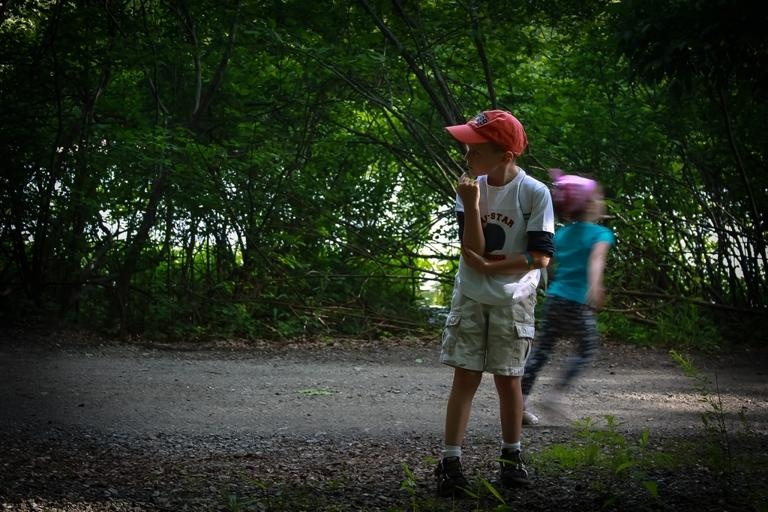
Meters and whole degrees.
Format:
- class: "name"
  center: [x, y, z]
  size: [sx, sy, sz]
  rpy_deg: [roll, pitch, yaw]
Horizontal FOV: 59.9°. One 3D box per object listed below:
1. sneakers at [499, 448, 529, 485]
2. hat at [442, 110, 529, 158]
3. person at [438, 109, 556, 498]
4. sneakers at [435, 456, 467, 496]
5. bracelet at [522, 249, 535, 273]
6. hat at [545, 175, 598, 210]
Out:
- class: "sneakers"
  center: [0.981, 1.616, 5.059]
  size: [0.154, 0.152, 0.372]
  rpy_deg: [-1, 0, 5]
- class: "hat"
  center: [0.818, -1.019, 5.287]
  size: [0.674, 0.283, 0.407]
  rpy_deg: [8, 25, 0]
- class: "person"
  center: [0.863, 0.312, 5.129]
  size: [0.862, 2.892, 0.764]
  rpy_deg: [1, 6, 0]
- class: "sneakers"
  center: [0.490, 1.652, 4.960]
  size: [0.247, 0.270, 0.244]
  rpy_deg: [2, 6, 9]
- class: "bracelet"
  center: [1.085, 0.059, 5.075]
  size: [0.082, 0.112, 0.121]
  rpy_deg: [-9, 7, -3]
- class: "hat"
  center: [1.870, -0.575, 6.412]
  size: [0.439, 0.295, 0.318]
  rpy_deg: [21, 5, -43]
